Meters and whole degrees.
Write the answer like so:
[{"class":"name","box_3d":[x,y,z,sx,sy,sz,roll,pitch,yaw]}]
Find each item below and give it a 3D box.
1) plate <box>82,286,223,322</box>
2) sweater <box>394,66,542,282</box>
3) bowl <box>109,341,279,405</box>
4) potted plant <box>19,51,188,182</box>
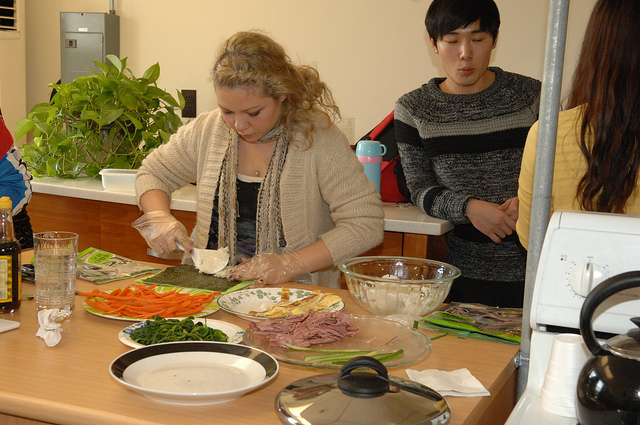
[{"class":"plate","box_3d":[-0.485,0.258,1.294,0.351,0.035,0.344,2,6,-33]},{"class":"sweater","box_3d":[0.830,-0.186,2.445,0.783,1.095,0.416,-6,10,10]},{"class":"bowl","box_3d":[-0.249,0.308,0.903,0.323,0.036,0.187,2,7,-6]},{"class":"potted plant","box_3d":[-1.468,-0.678,2.977,0.978,0.597,0.926,-5,16,-35]}]
